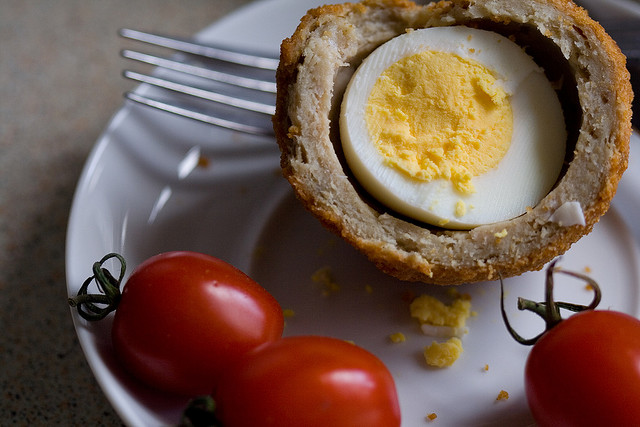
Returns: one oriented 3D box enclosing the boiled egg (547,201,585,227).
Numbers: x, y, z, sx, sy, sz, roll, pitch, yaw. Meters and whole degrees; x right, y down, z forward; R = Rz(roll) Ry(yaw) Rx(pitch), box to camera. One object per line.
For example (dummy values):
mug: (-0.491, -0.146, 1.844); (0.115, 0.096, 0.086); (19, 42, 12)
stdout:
boiled egg: (0.766, 0.002, 1.906); (0.103, 0.050, 0.067); (1, 68, -3)
